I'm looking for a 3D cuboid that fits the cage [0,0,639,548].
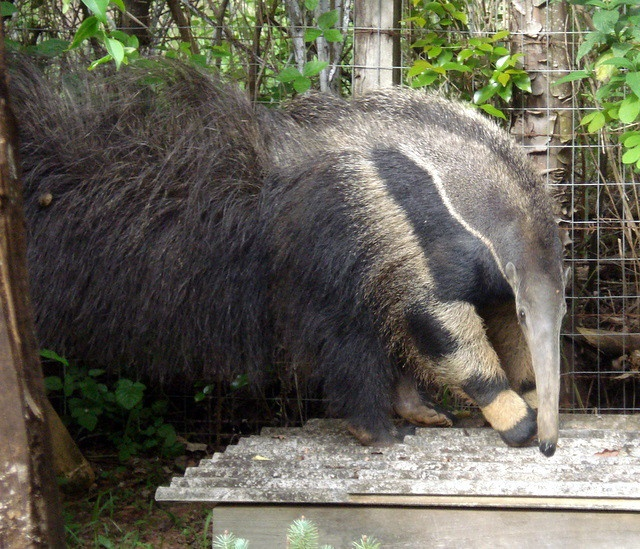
[{"bbox_3d":[-1.017,-0.229,4.618,4.928,1.786,1.479,13,22,20],"label":"cage"}]
